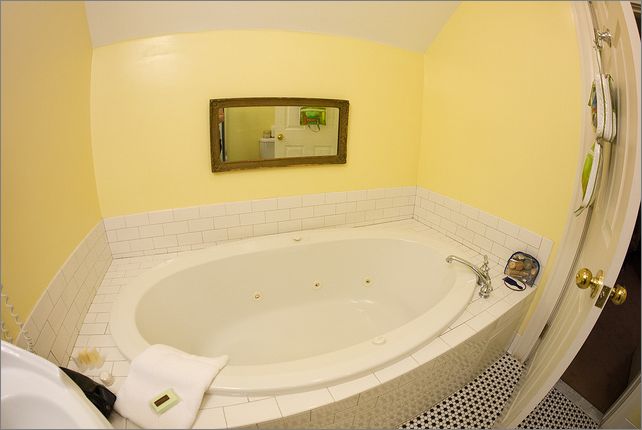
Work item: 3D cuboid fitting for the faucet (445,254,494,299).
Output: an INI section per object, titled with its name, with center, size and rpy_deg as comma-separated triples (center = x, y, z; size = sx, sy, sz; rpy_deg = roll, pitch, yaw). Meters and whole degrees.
[faucet]
center = 1.102, 0.424, 3.090
size = 0.137, 0.237, 0.618
rpy_deg = -18, 17, -6

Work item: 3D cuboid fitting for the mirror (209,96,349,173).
[mirror]
center = -0.328, -0.673, 3.257
size = 1.155, 0.593, 0.036
rpy_deg = -6, 33, -18

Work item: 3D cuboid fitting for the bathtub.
[bathtub]
center = -0.130, 0.693, 2.840
size = 2.532, 0.937, 1.281
rpy_deg = 0, 12, -22
